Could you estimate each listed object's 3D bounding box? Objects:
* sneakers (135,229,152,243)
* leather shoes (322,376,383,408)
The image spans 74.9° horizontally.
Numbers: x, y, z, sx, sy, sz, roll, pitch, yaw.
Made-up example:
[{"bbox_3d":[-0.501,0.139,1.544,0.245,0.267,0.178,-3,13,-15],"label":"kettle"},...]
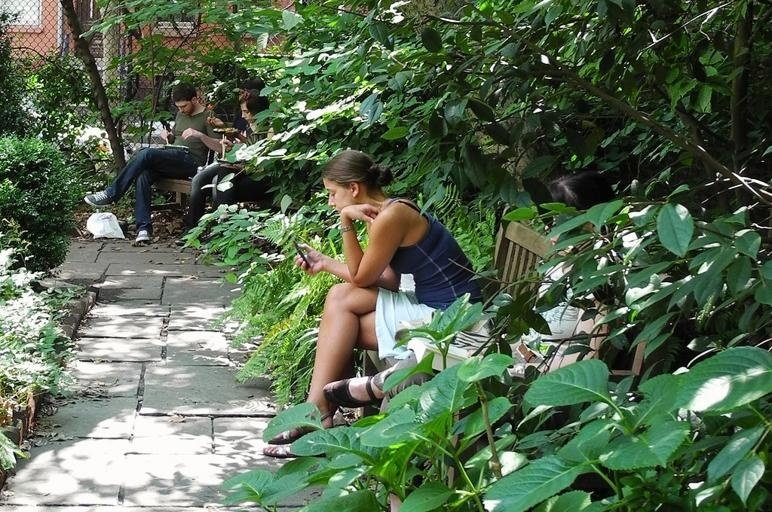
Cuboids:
[{"bbox_3d":[-3.647,-0.280,7.630,0.157,0.201,0.250,3,10,21],"label":"sneakers"},{"bbox_3d":[-0.236,0.822,3.077,0.454,0.137,0.133,-1,-1,18],"label":"leather shoes"}]
